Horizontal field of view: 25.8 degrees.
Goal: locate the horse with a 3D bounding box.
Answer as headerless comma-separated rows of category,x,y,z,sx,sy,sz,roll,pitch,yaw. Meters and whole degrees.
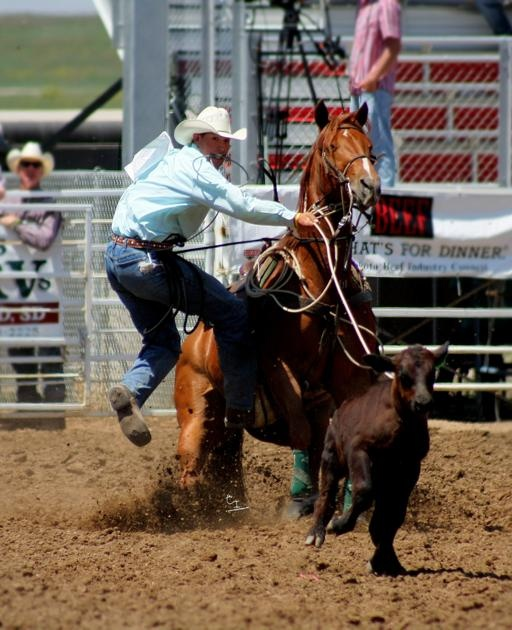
horse,0.170,0.197,7.212,0.911,2.037,3.041,4,-22,-18

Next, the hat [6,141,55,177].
hat,-1.993,-1.403,9.823,0.443,0.173,0.465,4,-28,-11

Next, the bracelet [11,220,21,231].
bracelet,-1.867,-0.705,8.655,0.066,0.085,0.017,0,8,-12

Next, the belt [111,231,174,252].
belt,-0.683,-0.431,6.610,0.387,0.082,0.214,1,7,-1

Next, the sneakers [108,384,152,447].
sneakers,-0.723,0.580,6.485,0.160,0.411,0.202,-29,-8,12

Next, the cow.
cow,0.640,0.743,5.894,0.578,1.220,0.841,-3,8,-29
